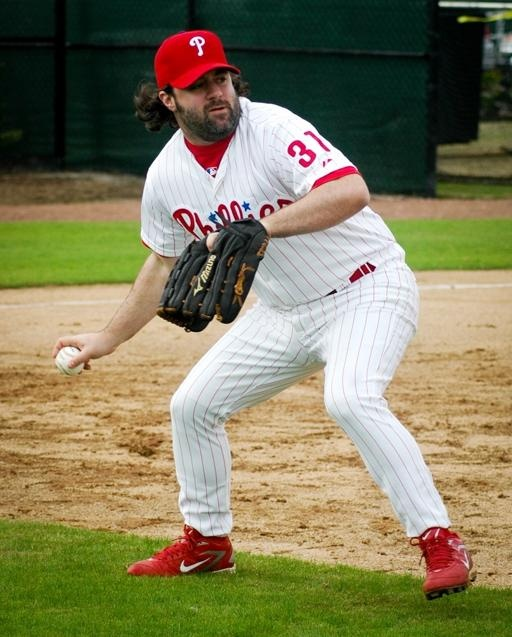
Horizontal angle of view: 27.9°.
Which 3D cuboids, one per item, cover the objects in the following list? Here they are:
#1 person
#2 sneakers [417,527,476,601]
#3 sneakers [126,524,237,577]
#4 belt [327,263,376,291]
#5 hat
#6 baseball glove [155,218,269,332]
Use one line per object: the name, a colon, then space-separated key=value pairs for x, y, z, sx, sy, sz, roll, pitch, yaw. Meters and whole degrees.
person: x=0.026 y=-0.020 z=3.378 sx=0.795 sy=1.848 sz=1.478 roll=-9 pitch=14 yaw=-43
sneakers: x=0.540 y=0.732 z=3.107 sx=0.106 sy=0.153 sz=0.283 roll=-31 pitch=9 yaw=12
sneakers: x=-0.289 y=0.781 z=3.436 sx=0.426 sy=0.164 sz=0.127 roll=1 pitch=-1 yaw=-9
belt: x=0.326 y=-0.134 z=3.330 sx=0.131 sy=0.035 sz=0.015 roll=-37 pitch=7 yaw=7
hat: x=-0.212 y=-0.861 z=3.478 sx=0.203 sy=0.144 sz=0.275 roll=-17 pitch=12 yaw=-25
baseball glove: x=-0.139 y=-0.124 z=3.189 sx=0.173 sy=0.352 sz=0.311 roll=35 pitch=-13 yaw=-30
